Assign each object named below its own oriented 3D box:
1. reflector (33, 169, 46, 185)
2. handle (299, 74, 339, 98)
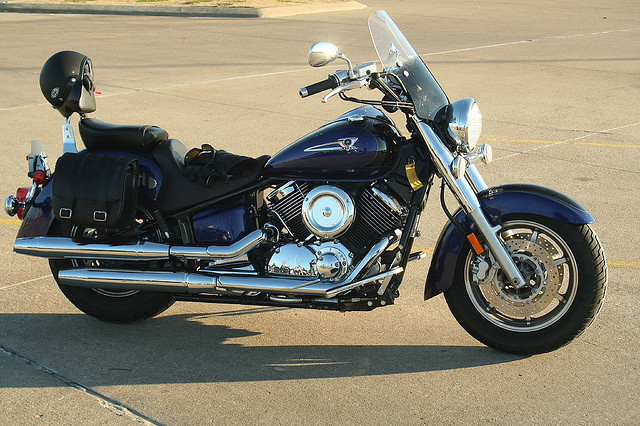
[{"bbox_3d":[-2.409,-0.312,5.712,0.098,0.113,0.120,6,-13,-12],"label":"reflector"},{"bbox_3d":[-0.025,-0.933,5.014,0.309,0.159,0.166,-19,42,-12],"label":"handle"}]
